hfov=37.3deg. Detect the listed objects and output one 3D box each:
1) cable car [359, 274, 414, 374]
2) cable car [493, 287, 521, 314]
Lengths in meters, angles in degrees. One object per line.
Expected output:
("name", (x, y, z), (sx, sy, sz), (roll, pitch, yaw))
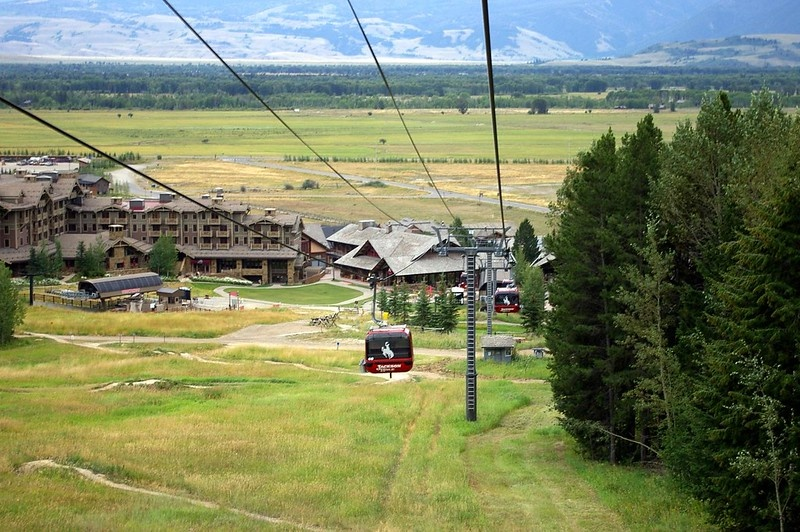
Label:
("cable car", (-0.938, 4.593, 91.584), (4.343, 7.245, 4.701), (-1, 0, 9))
("cable car", (12.211, 4.051, 135.057), (2.831, 2.983, 9.746), (0, 2, 5))
